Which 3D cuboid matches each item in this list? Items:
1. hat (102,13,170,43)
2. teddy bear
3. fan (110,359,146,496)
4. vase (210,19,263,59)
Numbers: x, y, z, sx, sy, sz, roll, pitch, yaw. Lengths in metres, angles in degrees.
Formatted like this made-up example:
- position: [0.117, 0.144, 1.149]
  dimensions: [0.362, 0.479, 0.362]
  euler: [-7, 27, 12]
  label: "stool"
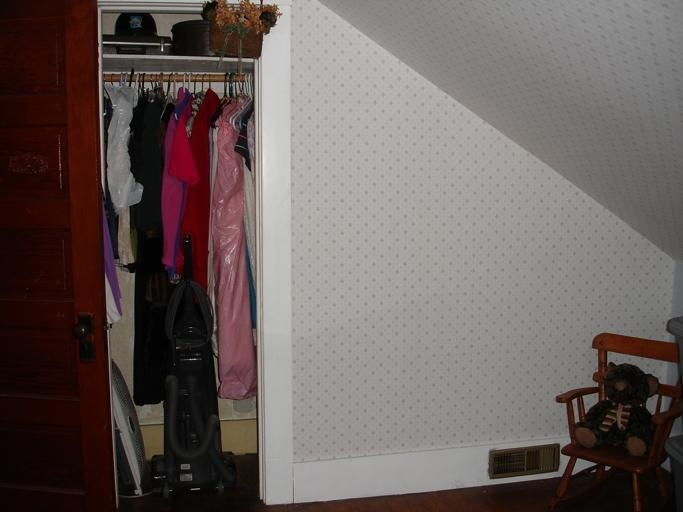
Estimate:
- position: [-1.146, -1.259, 3.426]
  dimensions: [0.195, 0.128, 0.310]
  euler: [0, 25, -9]
  label: "hat"
- position: [1.483, 0.812, 3.312]
  dimensions: [0.322, 0.454, 0.374]
  euler: [4, 0, -40]
  label: "teddy bear"
- position: [-1.189, 0.958, 3.487]
  dimensions: [0.193, 0.735, 0.418]
  euler: [2, 4, -18]
  label: "fan"
- position: [-0.523, -1.063, 3.102]
  dimensions: [0.261, 0.199, 0.166]
  euler: [1, 48, -10]
  label: "vase"
